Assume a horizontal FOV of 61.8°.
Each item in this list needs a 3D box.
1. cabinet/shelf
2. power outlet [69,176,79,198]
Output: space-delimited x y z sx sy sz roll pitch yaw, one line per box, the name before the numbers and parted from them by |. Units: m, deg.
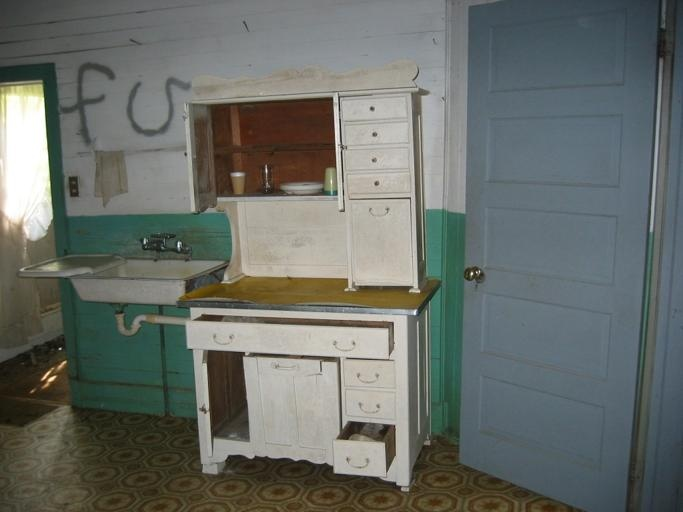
cabinet/shelf | -0.170 0.118 3.233 1.340 2.249 0.780 1 10 18
power outlet | -1.850 -0.480 3.947 0.083 0.150 0.025 1 10 19
